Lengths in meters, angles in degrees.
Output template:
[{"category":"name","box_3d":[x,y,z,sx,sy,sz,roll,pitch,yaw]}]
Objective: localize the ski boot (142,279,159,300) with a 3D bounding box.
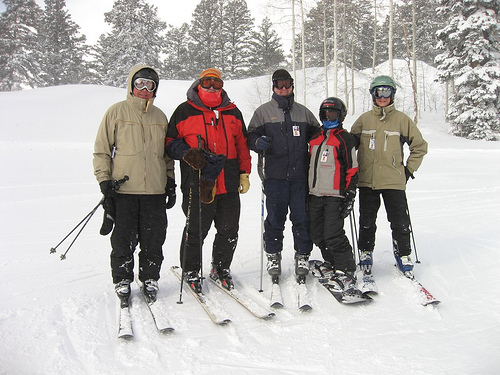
[{"category":"ski boot","box_3d":[-1.384,1.407,6.375,0.210,0.238,0.238,-26,47,-33]}]

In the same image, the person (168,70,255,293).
[{"category":"person","box_3d":[-0.550,-0.099,6.593,1.135,3.175,0.689,-4,6,-12]}]

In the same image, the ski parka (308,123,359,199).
[{"category":"ski parka","box_3d":[1.224,-0.359,6.694,1.004,1.335,0.527,0,-3,35]}]

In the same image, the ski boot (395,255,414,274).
[{"category":"ski boot","box_3d":[2.308,1.136,6.723,0.168,0.244,0.237,-1,-20,-17]}]

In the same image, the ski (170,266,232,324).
[{"category":"ski","box_3d":[-0.683,1.541,6.362,0.143,0.075,1.373,-1,24,-26]}]

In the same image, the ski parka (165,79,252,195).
[{"category":"ski parka","box_3d":[-0.599,-0.732,6.639,1.249,1.658,0.429,-6,7,-27]}]

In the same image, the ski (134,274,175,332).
[{"category":"ski","box_3d":[-1.345,1.590,6.226,0.254,0.100,1.768,-2,23,-27]}]

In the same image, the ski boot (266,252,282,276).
[{"category":"ski boot","box_3d":[0.361,1.184,6.872,0.210,0.365,0.309,-2,6,3]}]

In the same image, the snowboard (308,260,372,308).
[{"category":"snowboard","box_3d":[1.185,1.264,6.668,0.328,0.187,1.186,-17,25,-9]}]

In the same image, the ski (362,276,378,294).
[{"category":"ski","box_3d":[1.716,1.427,6.458,0.216,0.183,0.390,-1,7,15]}]

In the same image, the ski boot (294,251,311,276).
[{"category":"ski boot","box_3d":[0.798,1.155,6.880,0.224,0.340,0.331,-2,7,7]}]

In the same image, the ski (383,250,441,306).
[{"category":"ski","box_3d":[2.415,1.371,6.678,0.171,0.088,1.055,-10,17,3]}]

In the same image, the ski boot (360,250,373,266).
[{"category":"ski boot","box_3d":[1.791,1.090,6.954,0.191,0.217,0.151,0,-1,-1]}]

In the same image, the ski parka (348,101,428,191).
[{"category":"ski parka","box_3d":[2.033,-0.648,6.941,1.278,1.412,0.458,7,13,33]}]

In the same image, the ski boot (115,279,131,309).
[{"category":"ski boot","box_3d":[-1.727,1.427,6.158,0.126,0.419,0.177,2,-24,-16]}]
